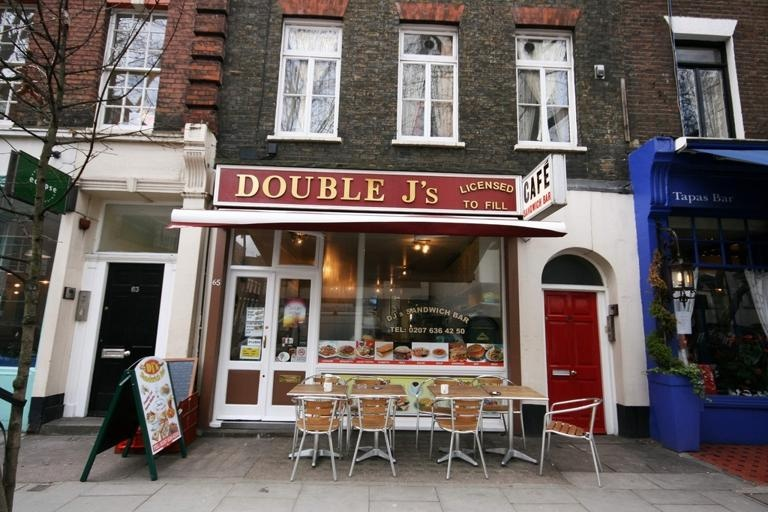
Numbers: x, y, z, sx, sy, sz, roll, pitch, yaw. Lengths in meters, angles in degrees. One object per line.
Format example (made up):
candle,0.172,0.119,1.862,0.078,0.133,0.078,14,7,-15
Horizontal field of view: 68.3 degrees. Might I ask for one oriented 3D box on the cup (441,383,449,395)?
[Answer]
cup,1.168,2.532,10.844,0.124,0.126,0.177,0,-11,4
